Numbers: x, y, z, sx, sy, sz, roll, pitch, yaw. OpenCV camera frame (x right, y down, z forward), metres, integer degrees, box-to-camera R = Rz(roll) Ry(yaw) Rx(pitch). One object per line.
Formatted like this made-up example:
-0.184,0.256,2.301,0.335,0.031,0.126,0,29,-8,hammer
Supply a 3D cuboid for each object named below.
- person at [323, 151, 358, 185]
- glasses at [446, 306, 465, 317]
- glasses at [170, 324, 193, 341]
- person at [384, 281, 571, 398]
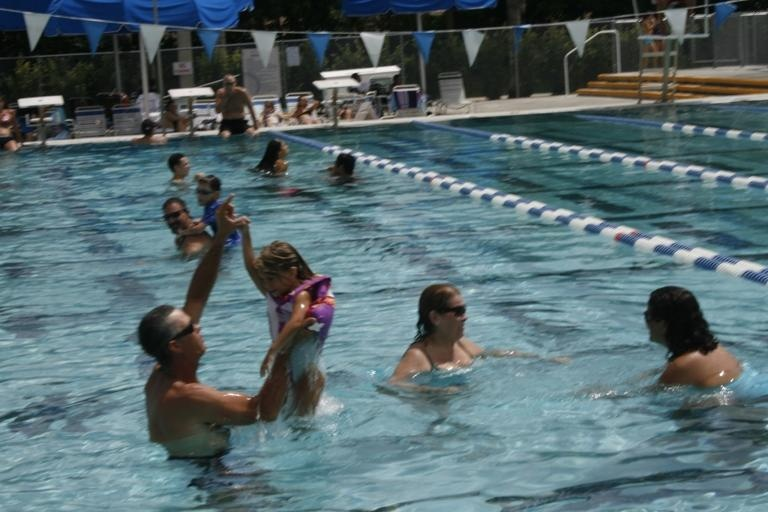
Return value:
-0.641,-1.405,12.491,0.408,0.497,0.748,9,3,34,person
0.523,0.399,5.648,0.137,0.084,0.034,-7,11,-26,glasses
-1.229,0.470,4.749,0.114,0.029,0.102,-28,8,-8,glasses
0.676,0.596,5.752,1.135,0.635,1.620,8,10,35,person
